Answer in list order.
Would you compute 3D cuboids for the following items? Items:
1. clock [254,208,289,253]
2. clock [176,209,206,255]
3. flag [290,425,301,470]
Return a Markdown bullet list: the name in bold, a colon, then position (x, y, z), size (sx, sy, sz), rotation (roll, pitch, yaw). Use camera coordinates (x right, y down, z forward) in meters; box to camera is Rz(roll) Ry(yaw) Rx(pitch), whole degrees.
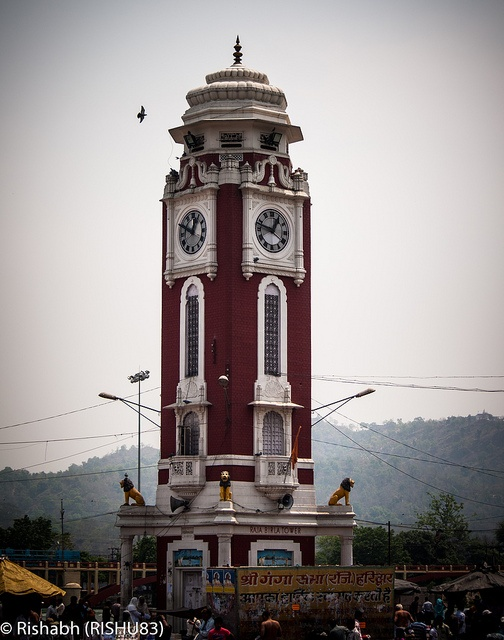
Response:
- **clock**: position (0.947, -4.853, 84.209), size (1.977, 2.221, 0.432), rotation (8, -6, -41)
- **clock**: position (-3.222, -4.809, 84.581), size (1.880, 2.358, 0.112), rotation (0, -6, 44)
- **flag**: position (2.059, 6.395, 82.474), size (0.288, 2.964, 0.583), rotation (-2, -35, 18)
